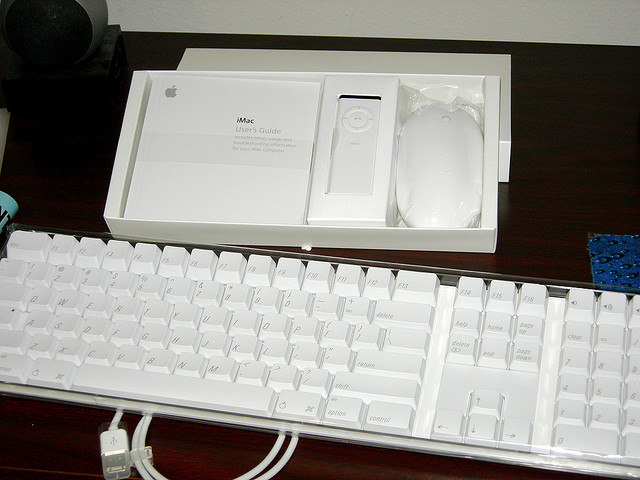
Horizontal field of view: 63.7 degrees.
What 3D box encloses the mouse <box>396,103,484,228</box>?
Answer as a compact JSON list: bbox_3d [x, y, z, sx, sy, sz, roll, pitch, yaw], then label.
[{"bbox_3d":[0.136,-0.074,0.564,0.100,0.034,0.133,3,70,9],"label":"mouse"}]
